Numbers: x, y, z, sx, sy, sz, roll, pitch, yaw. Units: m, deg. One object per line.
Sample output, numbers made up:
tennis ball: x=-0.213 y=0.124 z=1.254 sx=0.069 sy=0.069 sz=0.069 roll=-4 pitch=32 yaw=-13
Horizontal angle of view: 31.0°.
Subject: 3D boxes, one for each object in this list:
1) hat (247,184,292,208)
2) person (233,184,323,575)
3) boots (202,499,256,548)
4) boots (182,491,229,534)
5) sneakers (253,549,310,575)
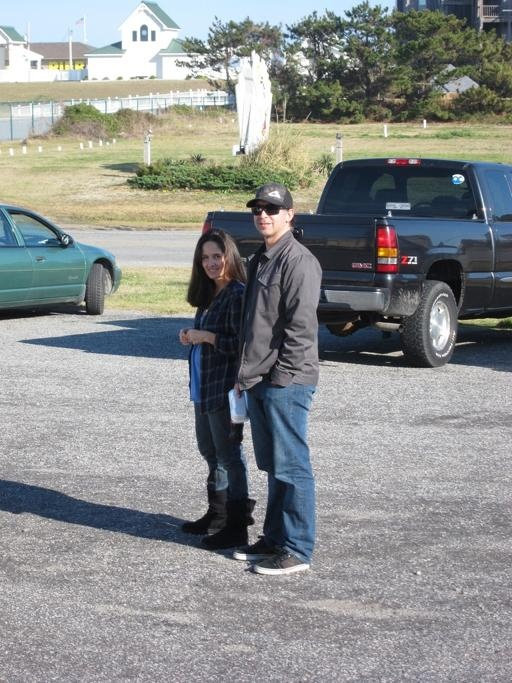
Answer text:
hat: x=0.069 y=-0.619 z=4.006 sx=0.123 sy=0.079 sz=0.167 roll=2 pitch=2 yaw=32
person: x=0.092 y=0.169 z=4.040 sx=0.364 sy=1.701 sz=0.402 roll=-4 pitch=10 yaw=-18
boots: x=-0.158 y=0.883 z=4.470 sx=0.372 sy=0.231 sz=0.147 roll=-10 pitch=-8 yaw=25
boots: x=-0.205 y=0.842 z=4.606 sx=0.122 sy=0.222 sz=0.275 roll=-4 pitch=0 yaw=-40
sneakers: x=0.116 y=0.980 z=4.099 sx=0.256 sy=0.082 sz=0.092 roll=2 pitch=-4 yaw=-8
